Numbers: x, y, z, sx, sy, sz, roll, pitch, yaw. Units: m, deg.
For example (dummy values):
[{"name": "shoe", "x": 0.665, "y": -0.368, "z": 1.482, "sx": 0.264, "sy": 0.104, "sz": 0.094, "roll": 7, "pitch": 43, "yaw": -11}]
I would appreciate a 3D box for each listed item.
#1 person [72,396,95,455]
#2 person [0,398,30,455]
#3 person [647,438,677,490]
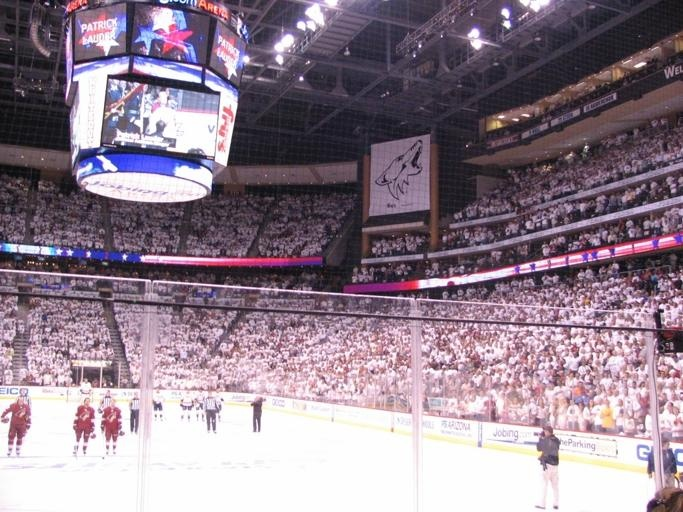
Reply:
[{"name": "person", "x": -4.624, "y": 3.065, "z": 16.148, "sx": 0.395, "sy": 1.201, "sz": 0.259, "roll": 7, "pitch": 15, "yaw": -1}, {"name": "person", "x": -5.745, "y": 3.052, "z": 15.914, "sx": 0.425, "sy": 0.961, "sz": 0.269, "roll": -3, "pitch": 9, "yaw": -16}, {"name": "person", "x": 6.407, "y": 4.103, "z": 17.729, "sx": 0.621, "sy": 1.036, "sz": 0.574, "roll": -1, "pitch": 9, "yaw": -2}]
